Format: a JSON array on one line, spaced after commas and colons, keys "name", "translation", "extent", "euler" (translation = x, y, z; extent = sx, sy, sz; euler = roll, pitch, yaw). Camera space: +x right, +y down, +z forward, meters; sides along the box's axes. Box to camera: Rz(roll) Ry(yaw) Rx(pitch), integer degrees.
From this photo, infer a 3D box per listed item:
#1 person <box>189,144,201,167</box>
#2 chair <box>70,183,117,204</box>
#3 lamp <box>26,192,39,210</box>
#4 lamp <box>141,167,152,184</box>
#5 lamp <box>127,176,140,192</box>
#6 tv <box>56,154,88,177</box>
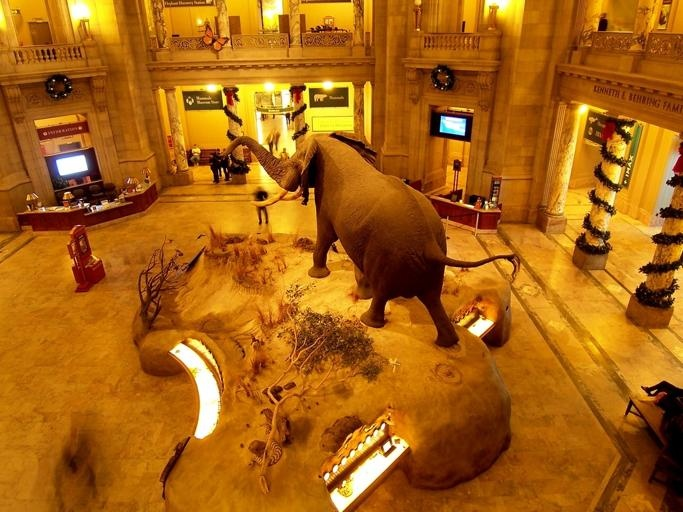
[{"name": "person", "translation": [-8.187, -5.599, 23.593], "extent": [0.594, 0.890, 1.013], "euler": [-10, 26, -14]}, {"name": "chair", "translation": [-10.247, -2.553, 17.377], "extent": [1.010, 0.526, 0.387], "euler": [-15, 40, -25]}, {"name": "lamp", "translation": [-11.635, -2.043, 15.834], "extent": [0.343, 0.622, 0.376], "euler": [9, 31, 3]}, {"name": "lamp", "translation": [-8.677, -3.588, 18.769], "extent": [0.371, 0.638, 0.685], "euler": [-15, 28, -24]}, {"name": "lamp", "translation": [-8.665, -2.942, 17.453], "extent": [0.476, 0.436, 0.690], "euler": [-24, 33, -37]}, {"name": "tv", "translation": [-11.378, -3.837, 17.820], "extent": [1.136, 0.774, 0.100], "euler": [-23, 31, -35]}]
